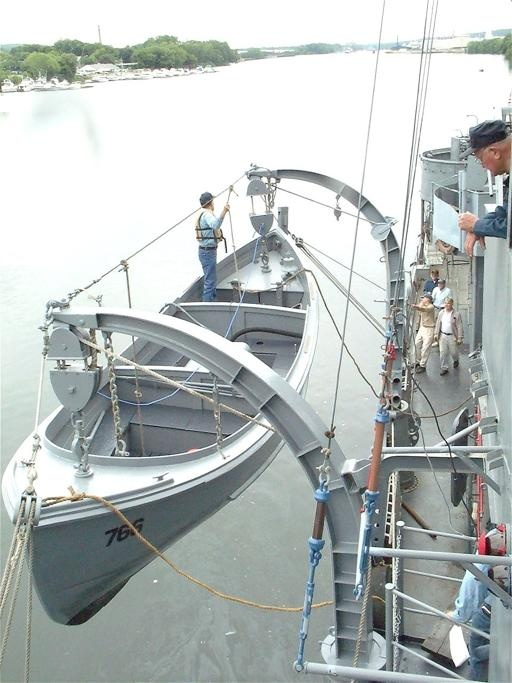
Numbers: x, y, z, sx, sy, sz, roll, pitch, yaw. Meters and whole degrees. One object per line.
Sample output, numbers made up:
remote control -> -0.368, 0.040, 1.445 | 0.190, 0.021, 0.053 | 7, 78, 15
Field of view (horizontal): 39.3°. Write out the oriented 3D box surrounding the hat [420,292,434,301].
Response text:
hat -> 2.939, -0.781, 12.329 | 0.223, 0.114, 0.306 | 2, -1, 19

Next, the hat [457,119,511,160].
hat -> 1.394, -1.238, 4.330 | 0.256, 0.197, 0.202 | 9, 23, 24

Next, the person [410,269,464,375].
person -> 3.182, -0.097, 12.534 | 0.786, 1.523, 0.990 | 4, 22, 13

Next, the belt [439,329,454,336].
belt -> 3.203, -0.134, 12.074 | 0.212, 0.096, 0.096 | 10, 24, 26

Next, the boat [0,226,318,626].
boat -> -0.772, 0.443, 9.875 | 2.450, 2.038, 7.044 | 11, 36, 22

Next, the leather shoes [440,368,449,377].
leather shoes -> 3.306, 0.555, 12.640 | 0.070, 0.068, 0.187 | -1, 16, 28

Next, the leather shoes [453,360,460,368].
leather shoes -> 3.621, 0.430, 12.898 | 0.081, 0.099, 0.257 | -4, 32, 29
